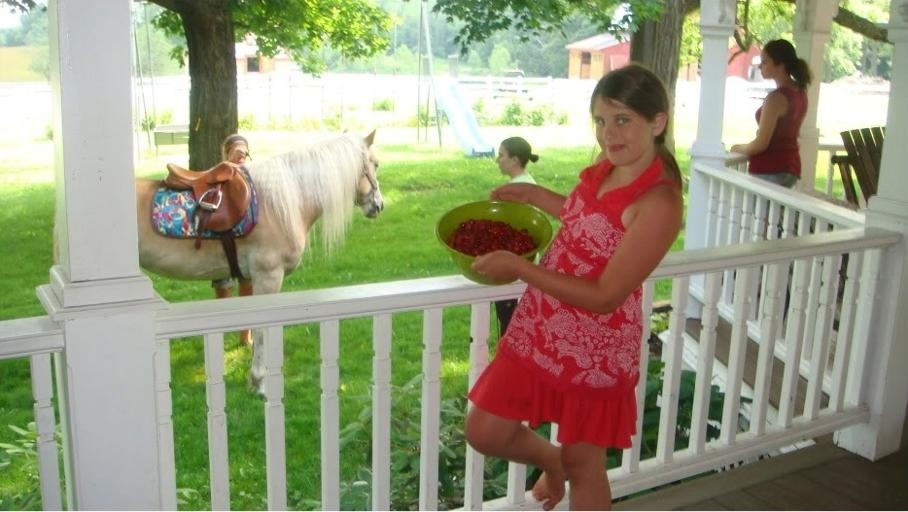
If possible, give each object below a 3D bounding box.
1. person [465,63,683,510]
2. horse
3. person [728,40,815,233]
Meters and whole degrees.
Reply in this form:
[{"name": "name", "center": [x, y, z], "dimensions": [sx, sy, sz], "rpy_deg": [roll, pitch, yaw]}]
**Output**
[{"name": "person", "center": [0.767, 0.353, 4.616], "dimensions": [1.439, 2.896, 0.778], "rpy_deg": [-12, 18, -21]}, {"name": "horse", "center": [-2.522, -0.010, 7.762], "dimensions": [3.641, 2.647, 0.841], "rpy_deg": [-3, 25, -22]}, {"name": "person", "center": [3.250, -1.388, 7.431], "dimensions": [0.762, 1.497, 0.492], "rpy_deg": [-8, 17, -9]}]
